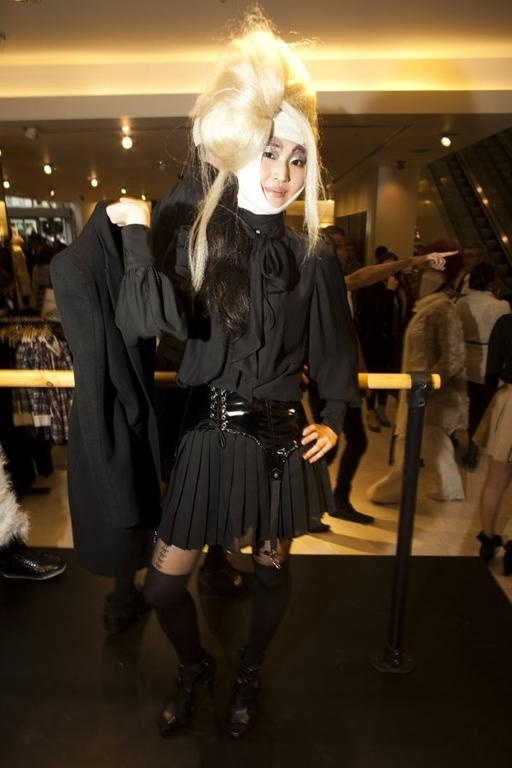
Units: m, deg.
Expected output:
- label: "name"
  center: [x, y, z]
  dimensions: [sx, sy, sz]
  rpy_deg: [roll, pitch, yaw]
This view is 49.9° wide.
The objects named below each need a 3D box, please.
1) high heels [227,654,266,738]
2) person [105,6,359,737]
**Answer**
- label: "high heels"
  center: [-0.031, 0.742, 1.327]
  dimensions: [0.065, 0.206, 0.083]
  rpy_deg: [7, -1, -4]
- label: "person"
  center: [-0.012, 0.031, 1.219]
  dimensions: [0.553, 1.576, 0.304]
  rpy_deg: [-7, 15, -18]
